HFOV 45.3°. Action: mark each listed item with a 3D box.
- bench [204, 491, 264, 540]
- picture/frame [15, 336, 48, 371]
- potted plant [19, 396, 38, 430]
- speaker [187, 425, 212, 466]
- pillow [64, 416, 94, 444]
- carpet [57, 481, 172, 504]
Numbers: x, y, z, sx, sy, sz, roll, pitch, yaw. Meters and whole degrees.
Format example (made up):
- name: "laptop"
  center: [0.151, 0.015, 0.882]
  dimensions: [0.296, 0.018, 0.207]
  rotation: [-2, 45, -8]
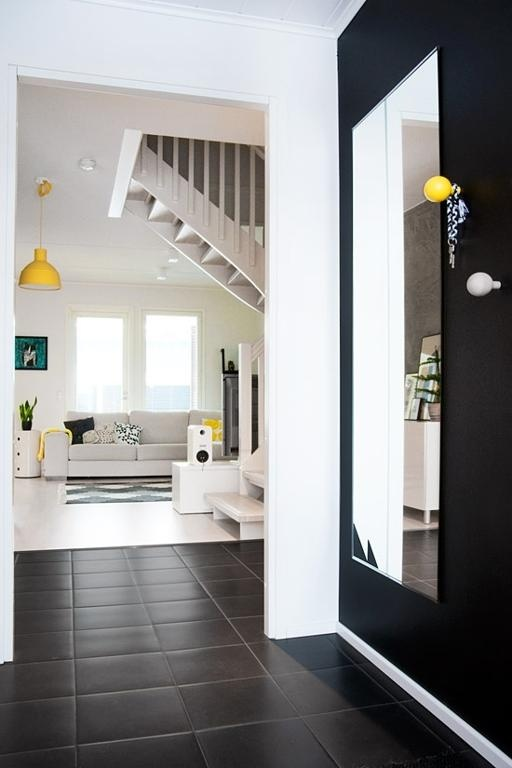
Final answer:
- name: "bench"
  center: [-0.163, 1.016, 4.682]
  dimensions: [0.391, 0.239, 1.220]
  rotation: [1, -3, -6]
- name: "picture/frame"
  center: [-3.389, -0.467, 9.197]
  dimensions: [0.516, 0.664, 0.066]
  rotation: [0, -2, -20]
- name: "potted plant"
  center: [-3.281, 0.414, 8.838]
  dimensions: [0.233, 0.479, 1.045]
  rotation: [1, -3, -20]
- name: "speaker"
  center: [-0.500, 0.546, 5.527]
  dimensions: [0.209, 0.339, 0.270]
  rotation: [0, -3, -5]
- name: "pillow"
  center: [-2.445, 0.601, 8.551]
  dimensions: [0.328, 0.351, 0.108]
  rotation: [-17, 3, 33]
- name: "carpet"
  center: [-1.558, 1.211, 6.924]
  dimensions: [1.173, 0.012, 1.904]
  rotation: [1, -3, -14]
